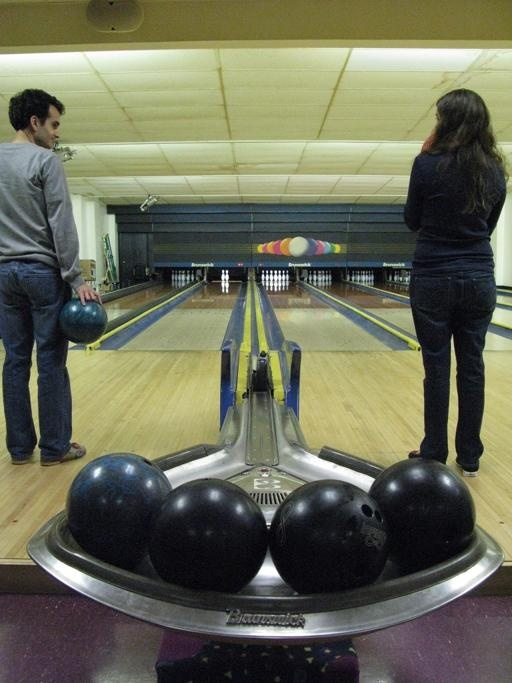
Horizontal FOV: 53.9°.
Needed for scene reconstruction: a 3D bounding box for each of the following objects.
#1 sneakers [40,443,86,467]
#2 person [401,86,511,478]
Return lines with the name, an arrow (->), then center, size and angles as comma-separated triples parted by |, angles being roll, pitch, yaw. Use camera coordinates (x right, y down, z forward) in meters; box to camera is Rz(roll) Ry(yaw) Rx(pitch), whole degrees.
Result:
sneakers -> -0.743, 0.426, 1.935 | 0.054, 0.056, 0.149 | 12, 13, 28
person -> 0.658, -0.165, 1.708 | 0.314, 1.296, 0.217 | 2, 11, 15
